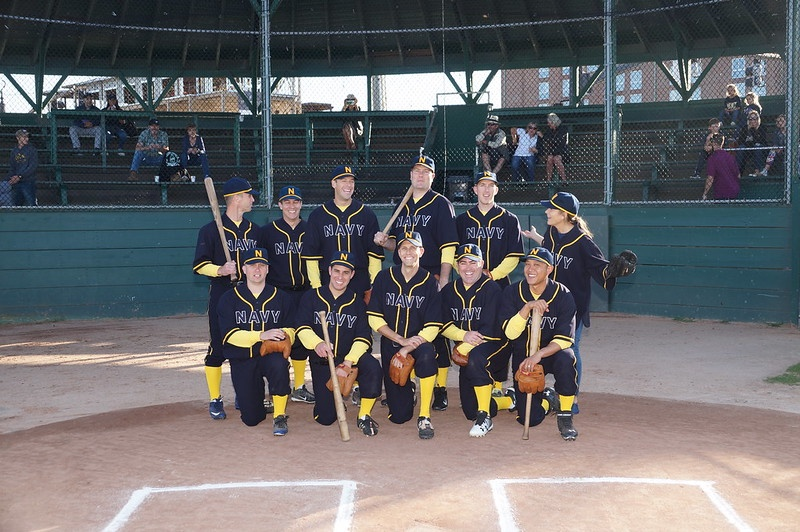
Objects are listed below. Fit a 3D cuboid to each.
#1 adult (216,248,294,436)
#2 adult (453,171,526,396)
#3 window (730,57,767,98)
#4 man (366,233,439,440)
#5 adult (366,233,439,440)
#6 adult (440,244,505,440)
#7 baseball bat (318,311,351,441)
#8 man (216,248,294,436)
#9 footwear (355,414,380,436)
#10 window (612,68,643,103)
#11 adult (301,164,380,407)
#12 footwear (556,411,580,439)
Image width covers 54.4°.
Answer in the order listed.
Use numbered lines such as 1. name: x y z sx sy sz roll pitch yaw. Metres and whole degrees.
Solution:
1. adult: -1.725 0.884 9.880 1.153 2.133 0.837 7 14 38
2. adult: 1.196 0.145 11.181 1.134 2.876 0.933 5 23 14
3. window: 10.217 -5.620 22.668 1.665 1.081 0.023 2 -8 -29
4. man: 0.167 0.775 9.827 0.816 2.381 1.189 -7 12 -28
5. adult: 0.166 0.775 9.826 0.806 2.381 1.193 -7 12 -28
6. adult: 0.964 0.844 9.897 0.862 2.194 1.253 -1 11 2
7. baseball bat: -0.789 1.384 9.557 0.238 0.179 2.107 1 50 -20
8. man: -1.725 0.883 9.882 1.151 2.133 0.839 7 14 38
9. footwear: -0.402 1.945 9.573 0.157 0.125 0.293 -3 5 -23
10. window: 8.079 -6.732 27.370 0.987 1.263 0.765 1 43 16
11. adult: -0.766 0.187 11.230 1.251 3.244 0.869 1 19 7
12. footwear: 2.012 1.875 9.341 0.244 0.249 0.448 1 11 12
